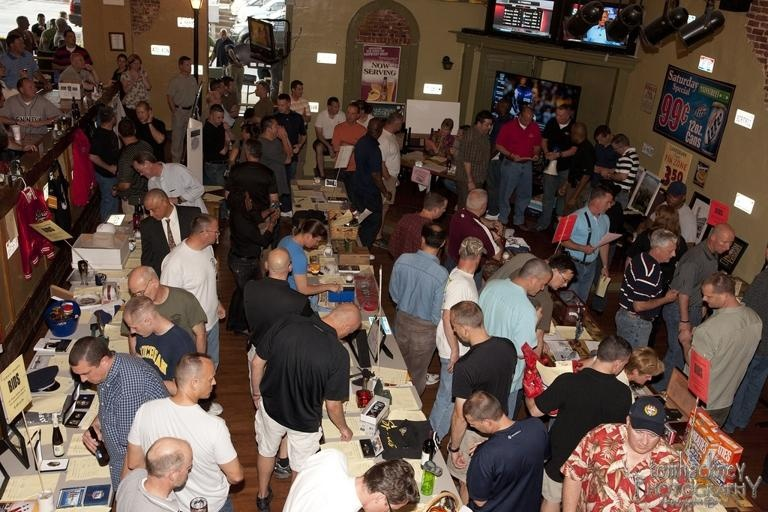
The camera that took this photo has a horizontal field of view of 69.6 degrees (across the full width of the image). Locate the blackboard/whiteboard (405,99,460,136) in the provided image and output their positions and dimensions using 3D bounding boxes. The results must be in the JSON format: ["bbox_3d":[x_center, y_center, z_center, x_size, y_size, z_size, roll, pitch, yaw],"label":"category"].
[{"bbox_3d":[1.167,-3.442,13.880,1.302,0.923,0.058,0,17,-8],"label":"blackboard/whiteboard"}]

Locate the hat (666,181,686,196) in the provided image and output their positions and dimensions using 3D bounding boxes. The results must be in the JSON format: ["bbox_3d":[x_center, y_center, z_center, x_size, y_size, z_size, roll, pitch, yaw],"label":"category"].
[{"bbox_3d":[4.407,-0.994,8.340,0.277,0.154,0.198,-2,20,-33],"label":"hat"}]

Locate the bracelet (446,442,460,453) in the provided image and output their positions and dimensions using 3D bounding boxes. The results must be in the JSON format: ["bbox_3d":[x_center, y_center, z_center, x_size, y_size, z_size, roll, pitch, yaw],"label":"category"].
[{"bbox_3d":[0.703,1.972,5.715,0.063,0.056,0.120,-3,39,-12],"label":"bracelet"}]

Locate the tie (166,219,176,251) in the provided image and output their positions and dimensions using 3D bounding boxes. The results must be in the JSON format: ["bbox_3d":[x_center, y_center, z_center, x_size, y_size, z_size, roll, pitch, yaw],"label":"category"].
[{"bbox_3d":[-2.715,-0.280,7.035,0.108,0.353,0.106,15,18,25],"label":"tie"}]

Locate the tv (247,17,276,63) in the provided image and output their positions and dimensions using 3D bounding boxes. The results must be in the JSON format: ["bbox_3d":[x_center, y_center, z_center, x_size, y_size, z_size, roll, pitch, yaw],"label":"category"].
[{"bbox_3d":[-3.073,-5.332,13.990,1.051,1.076,0.871,-3,28,-21],"label":"tv"}]

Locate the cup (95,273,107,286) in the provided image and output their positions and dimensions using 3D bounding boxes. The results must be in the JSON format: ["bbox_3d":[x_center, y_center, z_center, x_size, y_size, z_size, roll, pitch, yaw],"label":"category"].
[{"bbox_3d":[-3.735,0.317,7.346,0.191,0.141,0.103,18,20,30],"label":"cup"}]

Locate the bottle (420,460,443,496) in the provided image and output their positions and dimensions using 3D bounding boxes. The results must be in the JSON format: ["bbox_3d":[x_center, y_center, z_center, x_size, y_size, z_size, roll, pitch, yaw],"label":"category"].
[{"bbox_3d":[0.451,2.079,5.281,0.193,0.334,0.251,10,17,9],"label":"bottle"}]

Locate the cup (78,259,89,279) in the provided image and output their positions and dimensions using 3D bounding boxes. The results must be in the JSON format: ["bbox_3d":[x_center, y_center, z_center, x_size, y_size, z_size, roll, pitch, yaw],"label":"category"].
[{"bbox_3d":[-3.985,0.173,7.383,0.132,0.245,0.166,-9,23,-43],"label":"cup"}]

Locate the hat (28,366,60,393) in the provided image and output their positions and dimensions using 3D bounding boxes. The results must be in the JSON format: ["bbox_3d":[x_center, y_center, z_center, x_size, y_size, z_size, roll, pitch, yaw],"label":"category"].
[{"bbox_3d":[-3.621,1.307,5.898,0.277,0.170,0.301,-4,20,-32],"label":"hat"}]

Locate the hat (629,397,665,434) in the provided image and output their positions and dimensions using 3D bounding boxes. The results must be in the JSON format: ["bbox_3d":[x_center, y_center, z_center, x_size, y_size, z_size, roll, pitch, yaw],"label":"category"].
[{"bbox_3d":[2.180,1.314,4.656,0.227,0.181,0.324,10,20,5],"label":"hat"}]

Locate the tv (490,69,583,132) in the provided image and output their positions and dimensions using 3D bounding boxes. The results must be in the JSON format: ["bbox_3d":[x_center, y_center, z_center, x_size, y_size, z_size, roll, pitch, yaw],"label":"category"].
[{"bbox_3d":[3.478,-3.657,13.066,0.410,1.171,2.420,-5,21,-34],"label":"tv"}]

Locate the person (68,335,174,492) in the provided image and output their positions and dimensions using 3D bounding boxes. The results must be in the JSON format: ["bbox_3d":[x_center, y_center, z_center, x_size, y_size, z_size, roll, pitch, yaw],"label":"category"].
[{"bbox_3d":[-2.349,1.452,4.995,0.508,1.271,0.498,-22,55,-19],"label":"person"}]

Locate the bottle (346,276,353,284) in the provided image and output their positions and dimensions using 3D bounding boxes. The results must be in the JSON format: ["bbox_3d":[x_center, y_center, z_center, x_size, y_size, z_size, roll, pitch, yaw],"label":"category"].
[{"bbox_3d":[-0.480,0.336,7.741,0.085,0.100,0.085,-2,-4,0],"label":"bottle"}]

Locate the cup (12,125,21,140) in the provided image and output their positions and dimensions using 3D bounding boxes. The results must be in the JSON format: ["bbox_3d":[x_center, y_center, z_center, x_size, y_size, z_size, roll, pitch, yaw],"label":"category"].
[{"bbox_3d":[-5.891,-1.976,8.896,0.094,0.226,0.223,-6,22,-38],"label":"cup"}]

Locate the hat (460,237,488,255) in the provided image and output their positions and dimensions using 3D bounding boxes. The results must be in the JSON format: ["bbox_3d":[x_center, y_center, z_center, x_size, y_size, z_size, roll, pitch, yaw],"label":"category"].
[{"bbox_3d":[0.992,-0.097,6.299,0.224,0.227,0.179,12,17,16],"label":"hat"}]
